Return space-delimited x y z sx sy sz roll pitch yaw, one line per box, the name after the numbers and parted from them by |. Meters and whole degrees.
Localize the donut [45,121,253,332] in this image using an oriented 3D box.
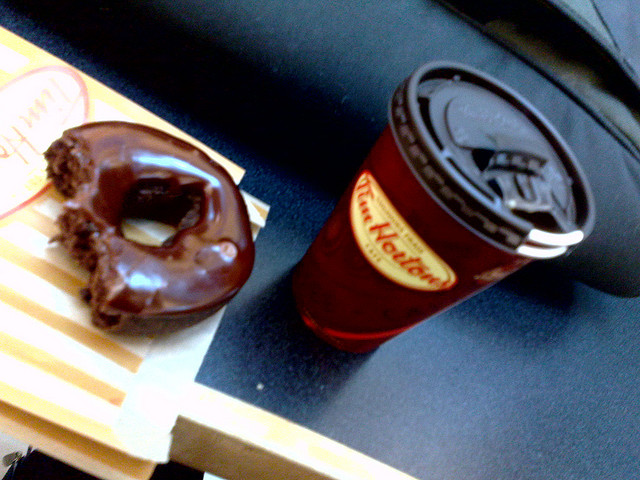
-0.258 -0.015 0.908 0.321 0.135 0.366 -5 73 -30 | donut
